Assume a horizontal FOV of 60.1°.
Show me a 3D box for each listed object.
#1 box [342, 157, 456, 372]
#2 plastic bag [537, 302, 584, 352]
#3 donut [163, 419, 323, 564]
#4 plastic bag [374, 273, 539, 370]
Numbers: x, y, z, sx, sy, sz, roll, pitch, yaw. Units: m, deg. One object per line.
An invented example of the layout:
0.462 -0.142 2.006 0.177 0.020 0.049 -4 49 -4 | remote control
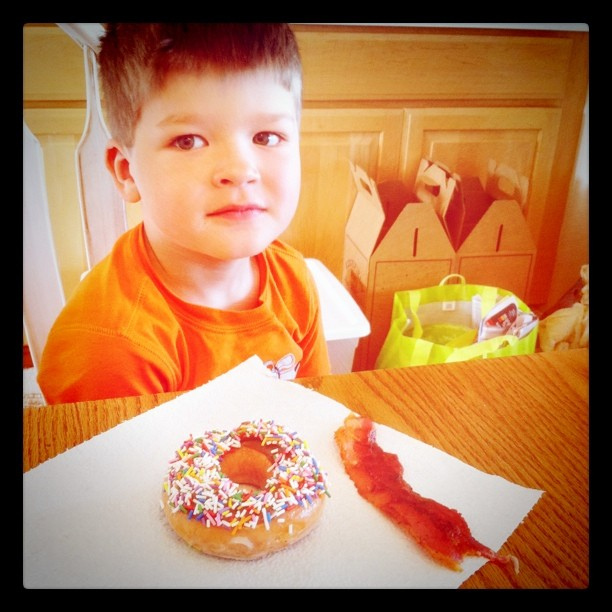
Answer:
0.158 -0.082 0.932 0.146 0.316 0.116 -6 24 -14 | box
0.465 0.042 0.966 0.031 0.092 0.069 6 3 -24 | plastic bag
-0.090 0.271 0.790 0.227 0.131 0.171 5 16 -1 | donut
0.261 0.012 1.028 0.263 0.186 0.207 -7 26 -18 | plastic bag
